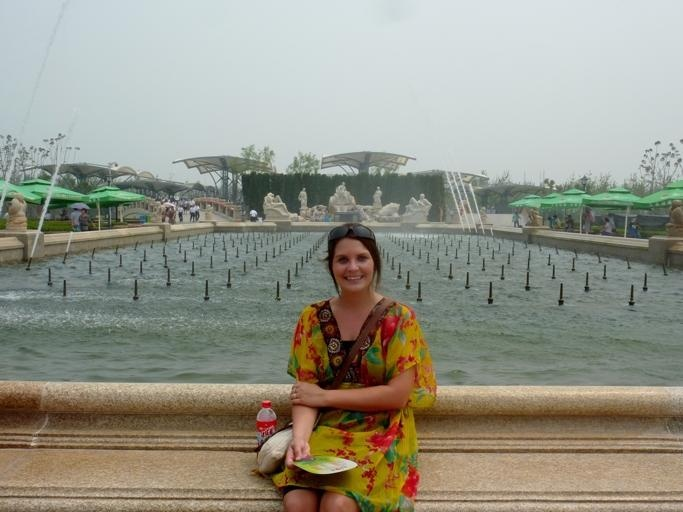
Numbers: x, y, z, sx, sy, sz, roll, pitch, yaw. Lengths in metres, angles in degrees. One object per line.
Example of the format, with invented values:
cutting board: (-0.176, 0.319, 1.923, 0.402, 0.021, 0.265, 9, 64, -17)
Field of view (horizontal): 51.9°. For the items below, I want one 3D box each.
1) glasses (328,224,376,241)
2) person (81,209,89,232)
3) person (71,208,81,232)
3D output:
glasses: (0.066, -0.144, 4.316, 0.178, 0.149, 0.052, 0, 37, 3)
person: (-9.920, -1.310, 27.035, 0.291, 0.733, 0.591, 3, -1, -16)
person: (-9.994, -1.317, 26.455, 0.245, 0.786, 1.205, 3, -2, -18)
